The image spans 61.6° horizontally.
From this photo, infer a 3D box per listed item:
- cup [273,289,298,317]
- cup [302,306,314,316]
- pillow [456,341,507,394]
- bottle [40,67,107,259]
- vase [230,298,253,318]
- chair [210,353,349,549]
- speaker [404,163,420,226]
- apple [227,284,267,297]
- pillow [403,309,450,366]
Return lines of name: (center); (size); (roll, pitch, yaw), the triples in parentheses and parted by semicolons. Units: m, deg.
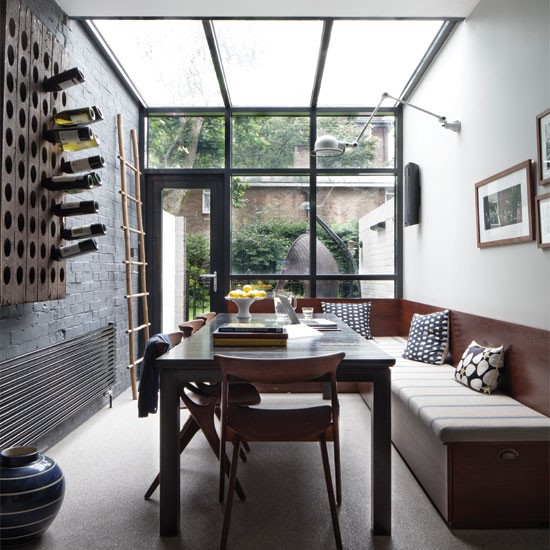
cup: (0.066, 0.171, 3.059); (0.147, 0.182, 0.103); (1, 1, 6)
cup: (0.221, 0.252, 3.238); (0.068, 0.059, 0.067); (0, 1, 0)
pillow: (1.171, 0.492, 2.725); (0.173, 0.359, 0.393); (9, -5, -11)
bottle: (-1.185, -0.635, 2.752); (0.289, 1.092, 0.310); (0, 2, 0)
vase: (-0.237, 0.233, 3.122); (0.130, 0.109, 0.144); (0, -2, -3)
chair: (0.017, 0.676, 2.097); (0.666, 1.106, 0.688); (1, -2, -1)
speaker: (1.322, -0.782, 4.485); (0.121, 0.586, 0.267); (0, 2, 7)
apple: (-0.191, 0.113, 3.106); (0.238, 0.085, 0.204); (0, 2, -1)
pillow: (1.145, 0.459, 3.483); (0.102, 0.370, 0.346); (20, -14, -26)
